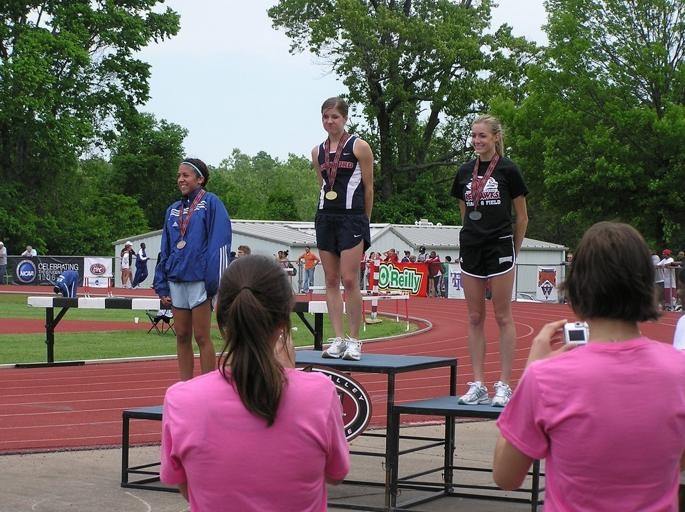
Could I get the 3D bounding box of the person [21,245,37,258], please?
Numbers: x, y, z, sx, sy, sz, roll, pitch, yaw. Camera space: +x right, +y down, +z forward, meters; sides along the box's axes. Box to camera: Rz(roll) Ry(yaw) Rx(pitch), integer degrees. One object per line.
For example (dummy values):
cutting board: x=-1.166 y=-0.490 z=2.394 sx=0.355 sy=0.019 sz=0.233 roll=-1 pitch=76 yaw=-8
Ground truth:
person: x=-13.022 y=-0.174 z=37.905 sx=0.612 sy=0.567 sz=0.896 roll=1 pitch=-5 yaw=-7

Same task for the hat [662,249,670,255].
hat: x=9.957 y=-0.117 z=28.051 sx=0.229 sy=0.230 sz=0.311 roll=0 pitch=-12 yaw=14

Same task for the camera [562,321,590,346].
camera: x=1.204 y=0.403 z=4.716 sx=0.124 sy=0.109 sz=0.118 roll=-1 pitch=14 yaw=0

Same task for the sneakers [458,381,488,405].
sneakers: x=1.038 y=1.090 z=7.238 sx=0.121 sy=0.133 sz=0.287 roll=2 pitch=-2 yaw=37

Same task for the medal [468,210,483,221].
medal: x=1.083 y=-0.329 z=7.445 sx=0.104 sy=0.090 sz=0.033 roll=-1 pitch=-4 yaw=40

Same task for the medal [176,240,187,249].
medal: x=-1.466 y=-0.103 z=8.312 sx=0.092 sy=0.081 sz=0.025 roll=-1 pitch=-4 yaw=31
